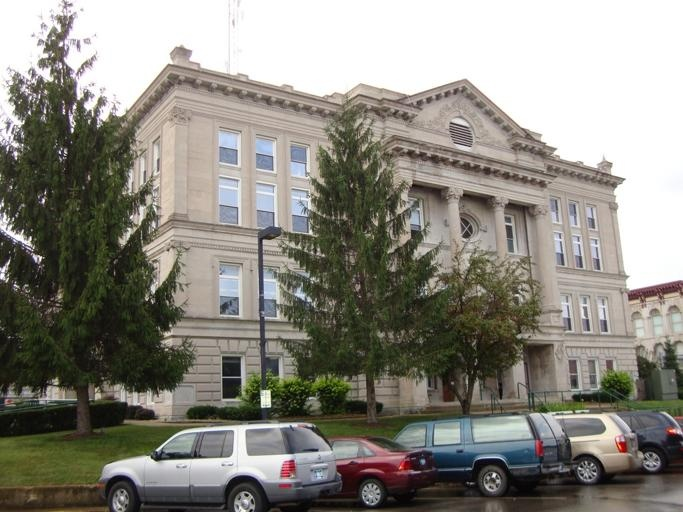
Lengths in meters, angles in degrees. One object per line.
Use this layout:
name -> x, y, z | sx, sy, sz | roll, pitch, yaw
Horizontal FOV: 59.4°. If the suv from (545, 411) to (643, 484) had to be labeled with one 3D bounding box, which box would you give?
suv -> 7.477, 5.702, 18.110 | 2.706, 1.350, 1.598 | -1, -11, 18
